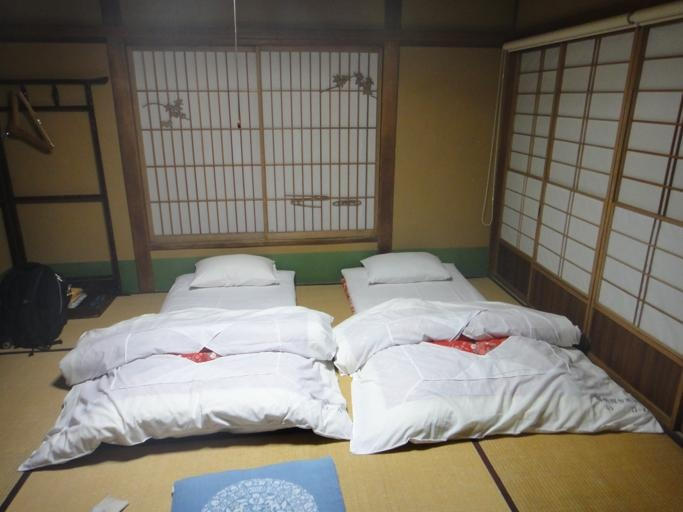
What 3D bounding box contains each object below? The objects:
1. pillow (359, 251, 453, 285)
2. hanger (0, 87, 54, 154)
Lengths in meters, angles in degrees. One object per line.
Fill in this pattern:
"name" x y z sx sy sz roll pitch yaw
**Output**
"pillow" 0.671 0.123 4.812 0.883 0.219 0.401 -2 17 -4
"hanger" -3.033 -1.277 4.482 0.448 0.619 0.241 -8 18 -21
